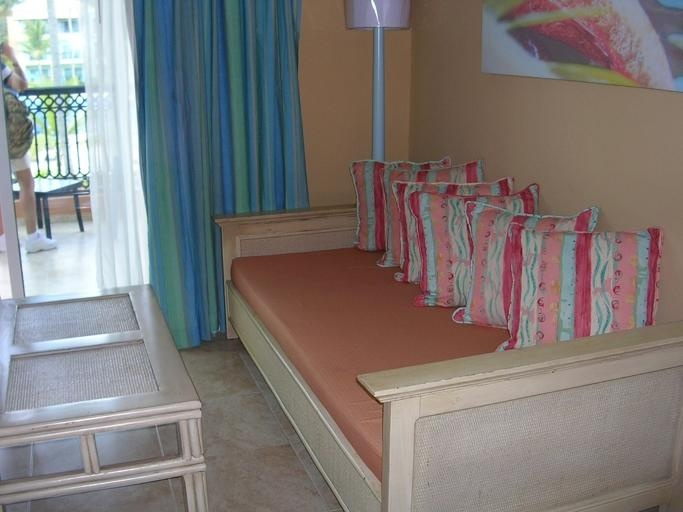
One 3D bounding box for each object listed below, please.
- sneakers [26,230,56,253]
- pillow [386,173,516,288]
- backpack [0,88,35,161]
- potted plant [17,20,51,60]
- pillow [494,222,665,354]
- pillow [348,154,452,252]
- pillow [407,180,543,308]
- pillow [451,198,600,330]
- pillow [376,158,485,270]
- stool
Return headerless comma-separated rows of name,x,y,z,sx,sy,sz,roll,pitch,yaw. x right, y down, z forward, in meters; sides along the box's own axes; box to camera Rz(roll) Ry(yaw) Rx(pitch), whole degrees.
sneakers,-1.819,-0.105,3.504,0.183,0.140,0.098,-7,29,-20
pillow,0.391,-0.082,2.741,0.479,0.554,0.162,-1,-6,24
backpack,-1.846,-0.761,3.226,0.186,0.378,0.275,-1,31,-20
potted plant,-1.709,-1.208,3.198,0.166,0.225,0.176,0,6,0
pillow,0.924,0.121,2.157,0.478,0.502,0.151,-2,-8,25
pillow,0.297,-0.258,2.871,0.545,0.568,0.193,-1,11,-7
pillow,0.556,-0.041,2.334,0.497,0.525,0.188,4,-3,30
pillow,0.690,0.042,2.126,0.453,0.457,0.160,6,-13,46
pillow,0.421,-0.193,2.647,0.520,0.537,0.185,-3,-16,10
stool,-1.745,-0.353,3.415,0.309,0.420,0.408,-8,17,-40
